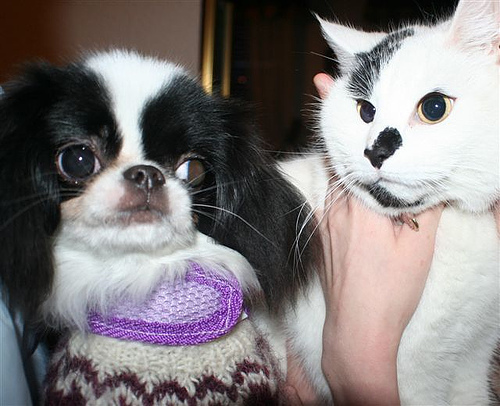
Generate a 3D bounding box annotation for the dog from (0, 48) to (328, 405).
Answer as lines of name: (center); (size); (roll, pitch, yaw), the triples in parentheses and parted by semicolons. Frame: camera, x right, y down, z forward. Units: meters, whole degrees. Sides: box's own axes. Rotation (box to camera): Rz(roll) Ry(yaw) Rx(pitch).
dog: (-0.153, 0.105, 1.320); (0.506, 0.693, 0.700); (-2, -12, -7)
